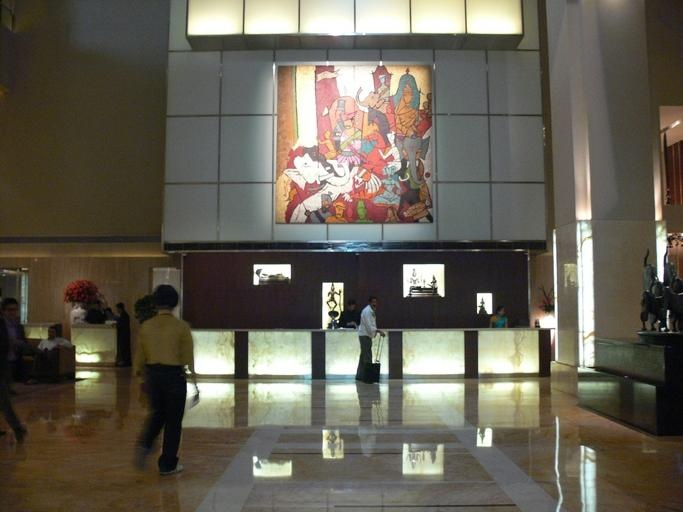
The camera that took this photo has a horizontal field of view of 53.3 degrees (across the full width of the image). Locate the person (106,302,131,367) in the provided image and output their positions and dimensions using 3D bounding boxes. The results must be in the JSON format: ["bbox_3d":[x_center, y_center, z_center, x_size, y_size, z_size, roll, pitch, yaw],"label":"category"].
[{"bbox_3d":[-5.536,1.933,17.101,0.508,1.521,1.102,-1,3,-18],"label":"person"}]

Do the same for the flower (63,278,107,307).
[{"bbox_3d":[-6.456,0.912,17.133,0.716,0.835,0.763,-1,-1,19],"label":"flower"}]

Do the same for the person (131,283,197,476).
[{"bbox_3d":[-2.221,1.688,8.577,0.704,2.061,0.286,-1,3,-10],"label":"person"}]
